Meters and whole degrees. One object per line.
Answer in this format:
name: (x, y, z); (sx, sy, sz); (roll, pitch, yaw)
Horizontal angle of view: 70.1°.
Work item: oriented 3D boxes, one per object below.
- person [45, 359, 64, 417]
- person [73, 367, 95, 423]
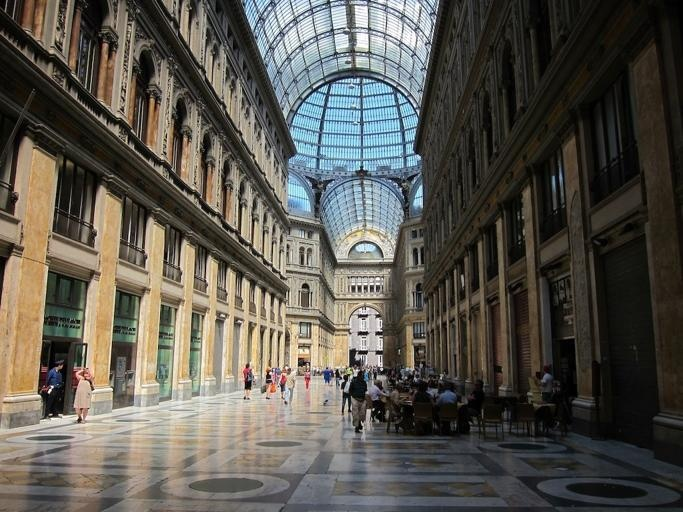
person: (-9.591, 4.422, 16.277); (0.498, 1.880, 1.124); (5, -10, -30)
person: (-8.414, 4.527, 15.896); (0.461, 1.696, 0.555); (5, -10, -31)
